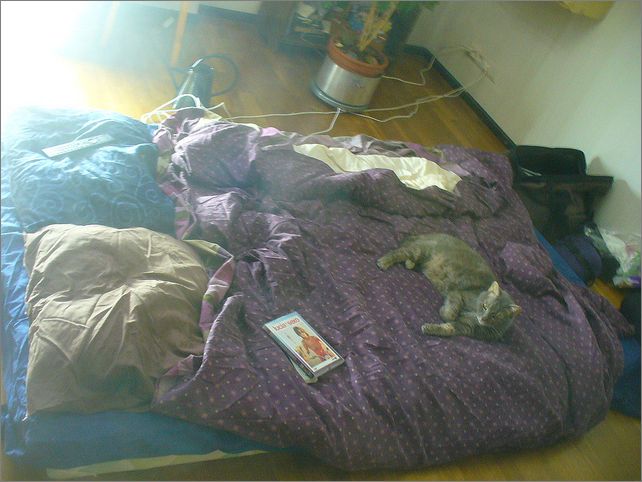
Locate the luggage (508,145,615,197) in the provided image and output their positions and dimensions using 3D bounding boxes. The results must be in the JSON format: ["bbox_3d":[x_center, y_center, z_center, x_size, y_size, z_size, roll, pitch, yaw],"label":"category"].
[{"bbox_3d":[1.576,-0.489,3.762,0.494,0.183,0.380,0,50,-13],"label":"luggage"}]

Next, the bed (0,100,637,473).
[{"bbox_3d":[0.069,0.279,2.607,2.323,0.640,1.734,-4,55,-18],"label":"bed"}]

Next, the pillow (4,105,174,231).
[{"bbox_3d":[-1.035,-0.339,2.468,0.611,0.163,0.789,-11,55,-29],"label":"pillow"}]

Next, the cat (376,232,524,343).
[{"bbox_3d":[0.606,0.247,2.768,0.439,0.262,0.602,-12,58,-31],"label":"cat"}]

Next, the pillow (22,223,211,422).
[{"bbox_3d":[-0.788,0.272,2.132,0.694,0.276,0.670,5,49,-17],"label":"pillow"}]
